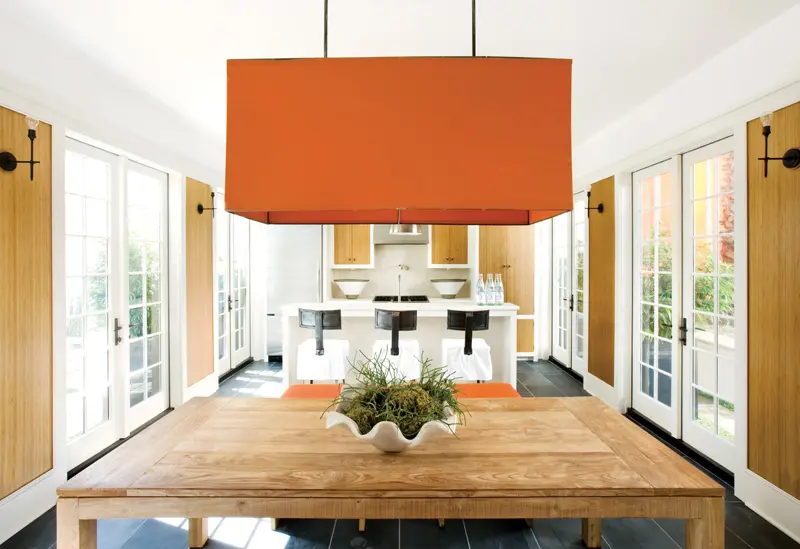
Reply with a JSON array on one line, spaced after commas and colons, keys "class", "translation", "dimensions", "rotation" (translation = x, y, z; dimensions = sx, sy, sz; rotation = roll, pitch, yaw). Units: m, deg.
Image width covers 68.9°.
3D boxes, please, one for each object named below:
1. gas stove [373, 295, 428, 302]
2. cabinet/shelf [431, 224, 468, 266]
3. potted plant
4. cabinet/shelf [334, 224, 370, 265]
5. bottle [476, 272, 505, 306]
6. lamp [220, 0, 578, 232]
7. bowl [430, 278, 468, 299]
[{"class": "gas stove", "translation": [0.020, 0.260, 7.011], "dimensions": [0.647, 0.041, 0.575], "rotation": [-2, 2, 5]}, {"class": "cabinet/shelf", "translation": [0.582, -0.373, 6.891], "dimensions": [0.449, 0.537, 0.186], "rotation": [0, 1, -1]}, {"class": "potted plant", "translation": [-0.052, 0.793, 3.732], "dimensions": [0.892, 0.574, 0.891], "rotation": [4, -2, -5]}, {"class": "cabinet/shelf", "translation": [-0.572, -0.372, 6.792], "dimensions": [0.444, 0.528, 0.183], "rotation": [0, 2, -4]}, {"class": "bottle", "translation": [0.947, 0.148, 6.221], "dimensions": [0.273, 0.302, 0.425], "rotation": [-2, 2, 7]}, {"class": "lamp", "translation": [-0.004, -0.749, 3.455], "dimensions": [1.839, 0.779, 1.027], "rotation": [0, 2, 3]}, {"class": "bowl", "translation": [0.598, 0.160, 6.880], "dimensions": [0.381, 0.222, 0.568], "rotation": [-2, 2, 7]}]
